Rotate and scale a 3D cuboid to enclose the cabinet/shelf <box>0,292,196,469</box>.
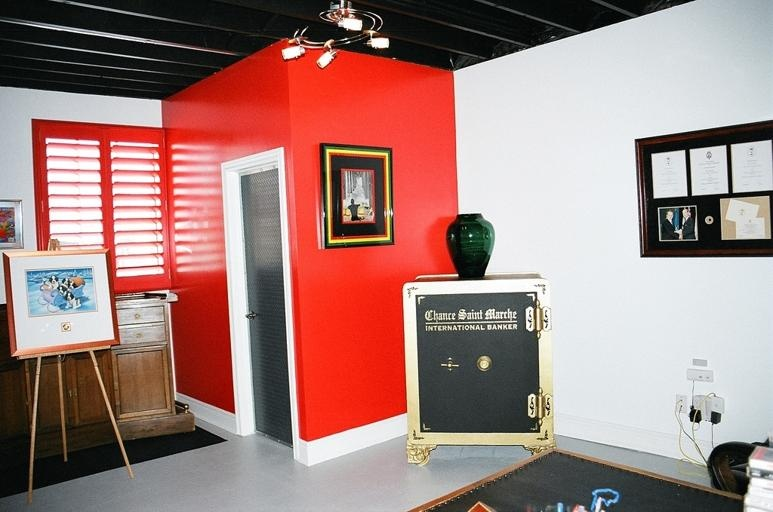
[{"bbox_3d":[-2.830,1.229,5.469,1.778,1.393,0.672,-2,-1,-38],"label":"cabinet/shelf"}]

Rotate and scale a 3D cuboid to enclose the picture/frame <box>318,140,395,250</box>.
[{"bbox_3d":[-0.277,-0.571,5.356,0.831,0.961,0.203,-13,15,-42],"label":"picture/frame"}]

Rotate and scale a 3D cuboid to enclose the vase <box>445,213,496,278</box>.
[{"bbox_3d":[0.736,-0.096,5.080,0.320,0.552,0.307,-12,14,-35],"label":"vase"}]

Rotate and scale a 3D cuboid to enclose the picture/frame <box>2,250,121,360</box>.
[{"bbox_3d":[-2.849,0.408,4.965,1.078,1.067,0.122,-5,-8,-31],"label":"picture/frame"}]

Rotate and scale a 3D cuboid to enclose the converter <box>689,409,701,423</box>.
[{"bbox_3d":[2.558,1.317,4.736,0.103,0.060,0.105,-5,-4,45],"label":"converter"}]
